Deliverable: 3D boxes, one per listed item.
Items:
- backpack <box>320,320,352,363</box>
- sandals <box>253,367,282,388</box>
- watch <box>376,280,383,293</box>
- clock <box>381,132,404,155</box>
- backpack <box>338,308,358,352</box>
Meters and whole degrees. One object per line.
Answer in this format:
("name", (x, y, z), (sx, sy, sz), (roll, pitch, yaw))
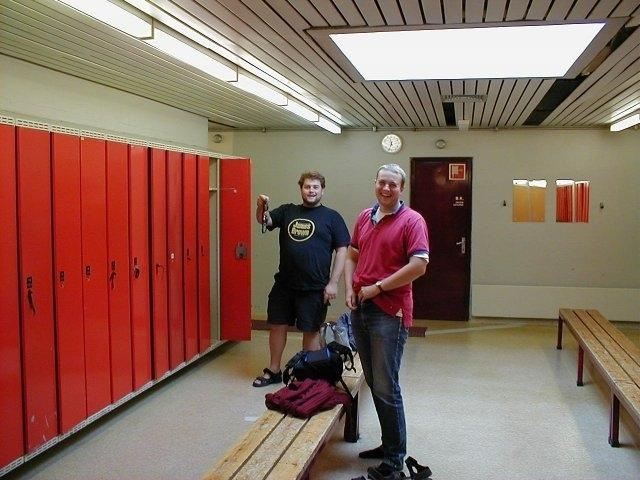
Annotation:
("backpack", (0.075, 0.779, 3.466), (0.143, 0.270, 0.197), (-13, -3, -10))
("sandals", (-0.554, 1.447, 4.714), (0.342, 0.151, 0.133), (2, -3, -31))
("watch", (0.369, 0.295, 2.803), (0.038, 0.057, 0.060), (-12, 47, -6))
("clock", (1.163, -1.584, 7.322), (0.330, 0.348, 0.056), (4, 2, 3))
("backpack", (0.271, 0.930, 4.505), (0.316, 0.444, 0.162), (-4, -23, 12))
